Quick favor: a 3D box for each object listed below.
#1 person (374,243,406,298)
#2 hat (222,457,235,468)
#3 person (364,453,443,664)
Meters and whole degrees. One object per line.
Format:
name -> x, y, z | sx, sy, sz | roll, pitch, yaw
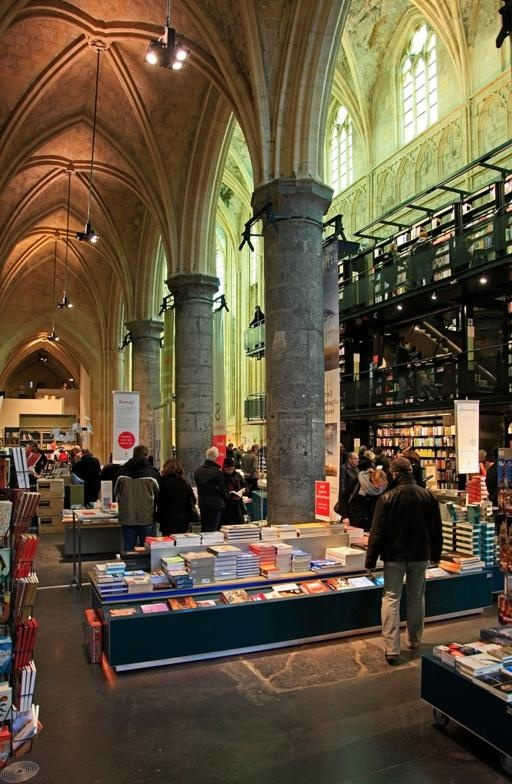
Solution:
person -> 3.476, -3.097, 15.523 | 0.474, 1.663, 1.507 | 1, 12, -6
hat -> -0.312, 0.872, 7.382 | 0.151, 0.160, 0.137 | -3, 6, -14
person -> 1.071, 1.180, 4.366 | 0.621, 1.410, 0.308 | 0, -4, -33
